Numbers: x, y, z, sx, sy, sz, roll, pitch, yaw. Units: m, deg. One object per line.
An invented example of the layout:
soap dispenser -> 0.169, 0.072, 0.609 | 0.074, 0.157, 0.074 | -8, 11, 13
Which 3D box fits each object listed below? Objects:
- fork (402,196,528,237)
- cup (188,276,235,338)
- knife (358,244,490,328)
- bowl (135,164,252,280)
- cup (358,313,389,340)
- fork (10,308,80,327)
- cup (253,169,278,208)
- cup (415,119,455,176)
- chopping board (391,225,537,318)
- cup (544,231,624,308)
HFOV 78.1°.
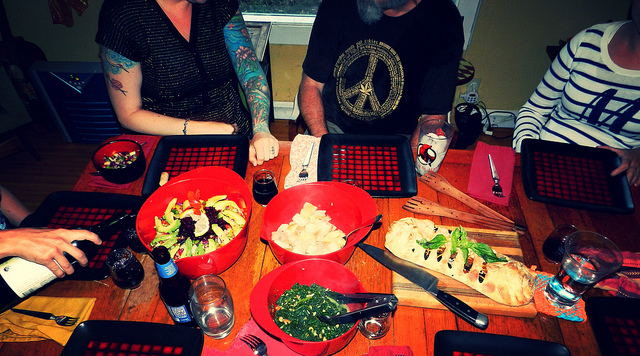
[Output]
fork -> 1.044, 0.287, 2.860 | 0.716, 0.059, 0.085 | 16, 52, 10
cup -> -0.732, 0.912, 2.698 | 0.261, 0.356, 0.369 | -11, 6, -18
knife -> 0.724, 0.737, 2.629 | 0.857, 0.048, 0.117 | 35, 81, 12
bowl -> -0.828, 0.288, 2.724 | 0.733, 0.371, 0.768 | -3, 53, 4
cup -> 0.347, 0.980, 2.643 | 0.202, 0.211, 0.199 | 0, 67, -1
fork -> -1.805, 0.911, 2.584 | 0.460, 0.050, 0.059 | 6, 42, 5
cup -> -0.390, 0.057, 2.962 | 0.233, 0.302, 0.240 | -2, 46, 2
cup -> 0.879, -0.221, 3.033 | 0.265, 0.399, 0.259 | 3, 46, -3
chopping board -> 0.974, 0.583, 2.700 | 0.954, 0.388, 0.520 | 5, 42, 3
cup -> 1.734, 0.613, 2.659 | 0.494, 0.354, 0.318 | -26, 49, -27
